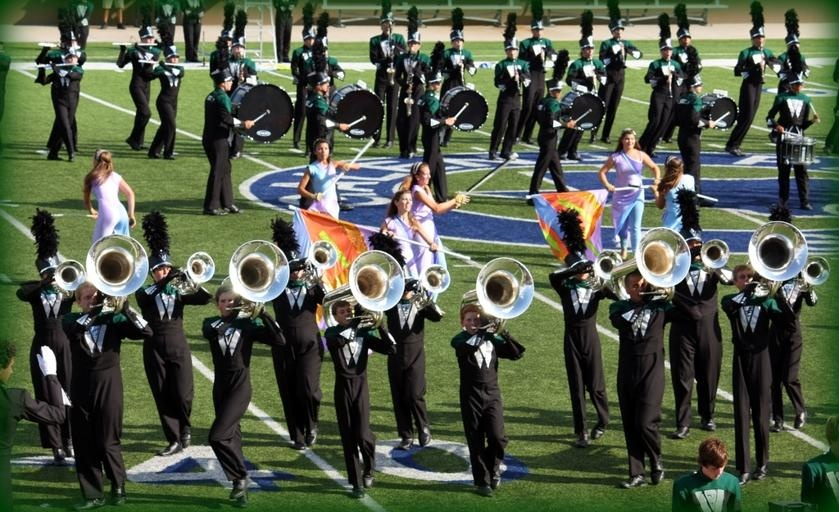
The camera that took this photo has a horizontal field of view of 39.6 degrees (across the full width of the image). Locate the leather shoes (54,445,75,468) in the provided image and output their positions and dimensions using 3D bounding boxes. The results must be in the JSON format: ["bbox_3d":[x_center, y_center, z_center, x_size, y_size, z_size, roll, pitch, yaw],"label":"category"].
[{"bbox_3d":[-4.460,2.493,14.581,0.240,0.230,0.276,1,6,-14],"label":"leather shoes"}]

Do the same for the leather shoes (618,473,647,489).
[{"bbox_3d":[2.603,2.765,14.316,0.400,0.134,0.129,-2,-3,-12],"label":"leather shoes"}]

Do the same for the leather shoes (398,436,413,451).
[{"bbox_3d":[-0.187,2.389,14.998,0.230,0.186,0.157,2,6,-7],"label":"leather shoes"}]

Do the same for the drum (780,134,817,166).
[{"bbox_3d":[7.275,-2.017,22.186,0.669,0.383,0.589,-4,18,-12],"label":"drum"}]

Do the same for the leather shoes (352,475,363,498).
[{"bbox_3d":[-0.751,2.818,14.047,0.098,0.098,0.256,0,17,-11],"label":"leather shoes"}]

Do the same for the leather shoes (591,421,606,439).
[{"bbox_3d":[2.319,2.295,15.242,0.123,0.278,0.127,25,16,8],"label":"leather shoes"}]

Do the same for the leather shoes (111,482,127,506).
[{"bbox_3d":[-3.569,2.833,13.833,0.127,0.306,0.131,-1,-29,-18],"label":"leather shoes"}]

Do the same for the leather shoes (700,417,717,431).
[{"bbox_3d":[3.817,2.219,15.485,0.193,0.178,0.203,4,6,10],"label":"leather shoes"}]

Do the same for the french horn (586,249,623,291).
[{"bbox_3d":[2.325,0.148,14.549,0.519,0.415,0.502,4,-12,-3],"label":"french horn"}]

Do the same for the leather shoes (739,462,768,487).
[{"bbox_3d":[4.142,2.710,14.456,0.553,0.210,0.150,-1,8,-34],"label":"leather shoes"}]

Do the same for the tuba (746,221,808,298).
[{"bbox_3d":[4.328,-0.062,14.136,0.650,0.699,0.153,5,7,14],"label":"tuba"}]

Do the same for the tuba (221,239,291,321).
[{"bbox_3d":[-1.924,0.181,13.932,0.685,0.709,0.304,2,7,-8],"label":"tuba"}]

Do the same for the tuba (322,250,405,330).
[{"bbox_3d":[-0.691,0.406,14.006,0.914,0.936,0.530,4,7,13],"label":"tuba"}]

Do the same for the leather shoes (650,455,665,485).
[{"bbox_3d":[2.906,2.624,14.363,0.161,0.374,0.180,1,10,10],"label":"leather shoes"}]

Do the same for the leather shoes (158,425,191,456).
[{"bbox_3d":[-3.064,2.374,14.800,0.207,0.200,0.543,10,12,32],"label":"leather shoes"}]

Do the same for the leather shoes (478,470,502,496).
[{"bbox_3d":[0.825,2.768,14.170,0.232,0.232,0.615,-1,-13,8],"label":"leather shoes"}]

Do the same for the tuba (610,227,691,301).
[{"bbox_3d":[2.864,0.084,14.080,0.665,0.680,1.077,-15,1,-22],"label":"tuba"}]

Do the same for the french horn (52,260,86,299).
[{"bbox_3d":[-4.343,0.285,14.497,0.507,0.408,0.480,8,-2,-15],"label":"french horn"}]

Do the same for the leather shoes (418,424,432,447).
[{"bbox_3d":[0.066,2.323,15.073,0.171,0.247,0.187,-5,-14,7],"label":"leather shoes"}]

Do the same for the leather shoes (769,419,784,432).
[{"bbox_3d":[4.728,2.241,15.398,0.238,0.153,0.097,1,7,-13],"label":"leather shoes"}]

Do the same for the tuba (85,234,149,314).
[{"bbox_3d":[-3.451,0.196,14.086,0.904,0.716,1.123,9,-7,-19],"label":"tuba"}]

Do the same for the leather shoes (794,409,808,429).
[{"bbox_3d":[5.020,2.171,15.457,0.131,0.258,0.110,8,4,-36],"label":"leather shoes"}]

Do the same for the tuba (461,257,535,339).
[{"bbox_3d":[0.955,0.441,14.093,0.709,0.999,1.032,2,15,3],"label":"tuba"}]

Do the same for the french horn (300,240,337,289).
[{"bbox_3d":[-1.278,0.066,15.378,0.374,0.346,0.643,20,-26,-7],"label":"french horn"}]

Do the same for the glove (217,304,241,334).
[{"bbox_3d":[-2.315,0.746,14.186,0.263,0.309,0.129,11,4,41],"label":"glove"}]

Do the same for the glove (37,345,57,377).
[{"bbox_3d":[-4.437,1.248,13.852,0.178,0.360,0.410,1,6,-21],"label":"glove"}]

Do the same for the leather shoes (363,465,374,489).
[{"bbox_3d":[-0.630,2.699,14.197,0.103,0.236,0.113,0,10,-2],"label":"leather shoes"}]

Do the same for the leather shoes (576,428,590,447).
[{"bbox_3d":[2.107,2.355,15.108,0.201,0.200,0.218,4,6,8],"label":"leather shoes"}]

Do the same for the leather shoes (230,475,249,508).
[{"bbox_3d":[-2.158,2.809,13.897,0.206,0.310,0.159,2,7,-7],"label":"leather shoes"}]

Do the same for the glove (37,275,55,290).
[{"bbox_3d":[-4.746,0.334,14.829,0.193,0.162,0.042,23,3,2],"label":"glove"}]

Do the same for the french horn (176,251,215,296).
[{"bbox_3d":[-2.774,0.229,14.372,0.427,0.541,0.294,2,7,-6],"label":"french horn"}]
